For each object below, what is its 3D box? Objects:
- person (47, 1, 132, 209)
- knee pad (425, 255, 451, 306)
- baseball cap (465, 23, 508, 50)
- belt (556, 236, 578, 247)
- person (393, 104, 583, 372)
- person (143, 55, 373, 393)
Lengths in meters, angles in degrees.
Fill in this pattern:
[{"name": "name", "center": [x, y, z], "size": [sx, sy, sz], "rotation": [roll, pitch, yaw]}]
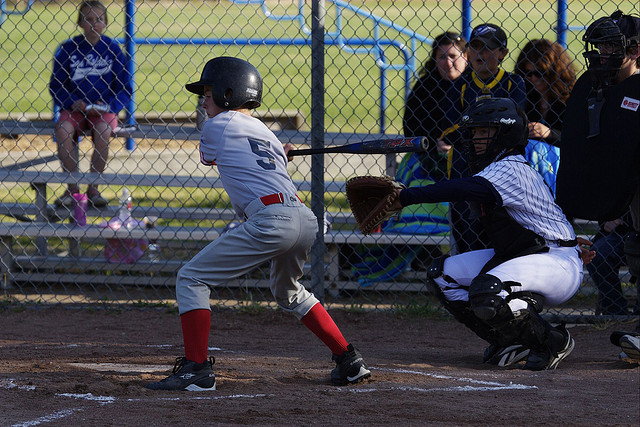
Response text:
[{"name": "person", "center": [-2.216, -1.061, 10.084], "size": [0.825, 1.969, 0.856], "rotation": [-6, 16, -25]}, {"name": "knee pad", "center": [0.918, 0.526, 8.045], "size": [0.166, 0.364, 0.261], "rotation": [2, 14, 5]}, {"name": "baseball cap", "center": [1.459, -1.552, 9.072], "size": [0.358, 0.214, 0.224], "rotation": [2, 13, 6]}, {"name": "belt", "center": [1.898, 0.225, 7.897], "size": [0.065, 0.075, 0.235], "rotation": [14, 18, 42]}, {"name": "person", "center": [1.412, 0.185, 7.830], "size": [1.156, 1.972, 0.692], "rotation": [4, 14, 12]}, {"name": "person", "center": [-0.563, 0.063, 7.512], "size": [1.434, 2.323, 0.817], "rotation": [-1, 14, -9]}]
